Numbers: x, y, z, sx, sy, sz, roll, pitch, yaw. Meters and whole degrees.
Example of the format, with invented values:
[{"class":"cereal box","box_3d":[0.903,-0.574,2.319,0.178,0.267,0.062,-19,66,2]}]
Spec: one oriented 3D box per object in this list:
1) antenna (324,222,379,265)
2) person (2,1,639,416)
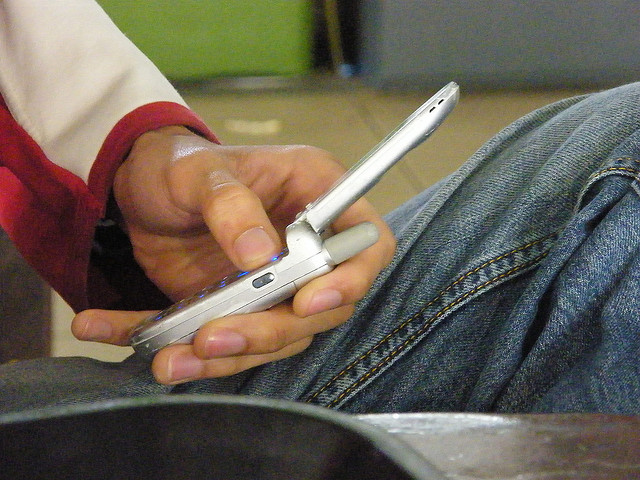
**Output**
[{"class":"antenna","box_3d":[0.025,0.002,0.527,0.046,0.015,0.020,-24,59,16]},{"class":"person","box_3d":[-0.038,-0.051,0.757,0.463,0.762,0.219,-11,78,-21]}]
